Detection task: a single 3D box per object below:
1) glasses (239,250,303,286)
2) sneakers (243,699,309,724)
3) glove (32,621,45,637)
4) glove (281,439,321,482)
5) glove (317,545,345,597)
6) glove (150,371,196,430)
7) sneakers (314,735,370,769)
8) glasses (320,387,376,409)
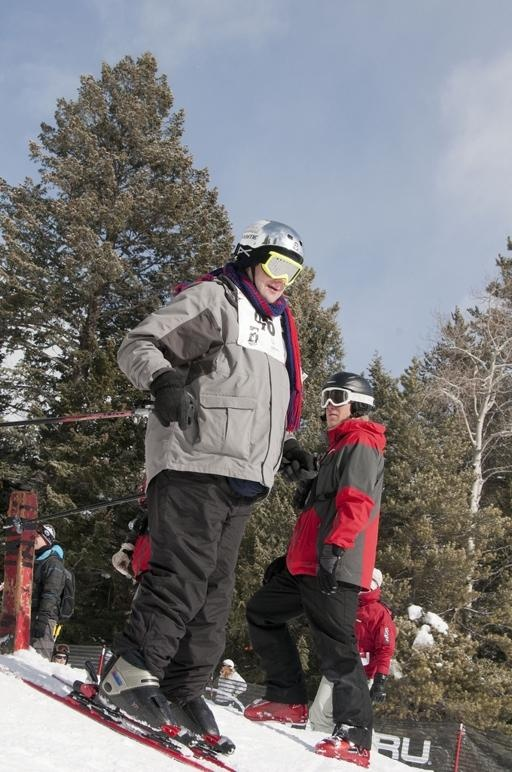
[{"bbox_3d":[0.101,-0.519,3.672,0.130,0.092,0.170,29,-24,-18],"label":"glasses"},{"bbox_3d":[0.120,1.783,4.595,0.332,0.146,0.140,6,-15,13],"label":"sneakers"},{"bbox_3d":[-1.646,1.852,6.368,0.102,0.127,0.051,1,-12,12],"label":"glove"},{"bbox_3d":[0.218,0.359,4.056,0.215,0.164,0.105,45,17,24],"label":"glove"},{"bbox_3d":[0.351,0.916,4.140,0.086,0.212,0.158,8,0,0],"label":"glove"},{"bbox_3d":[-0.288,0.057,3.062,0.172,0.204,0.090,4,-18,18],"label":"glove"},{"bbox_3d":[0.381,1.658,3.781,0.234,0.124,0.354,7,-12,14],"label":"sneakers"},{"bbox_3d":[0.564,0.082,5.048,0.225,0.082,0.159,8,-8,-27],"label":"glasses"}]
